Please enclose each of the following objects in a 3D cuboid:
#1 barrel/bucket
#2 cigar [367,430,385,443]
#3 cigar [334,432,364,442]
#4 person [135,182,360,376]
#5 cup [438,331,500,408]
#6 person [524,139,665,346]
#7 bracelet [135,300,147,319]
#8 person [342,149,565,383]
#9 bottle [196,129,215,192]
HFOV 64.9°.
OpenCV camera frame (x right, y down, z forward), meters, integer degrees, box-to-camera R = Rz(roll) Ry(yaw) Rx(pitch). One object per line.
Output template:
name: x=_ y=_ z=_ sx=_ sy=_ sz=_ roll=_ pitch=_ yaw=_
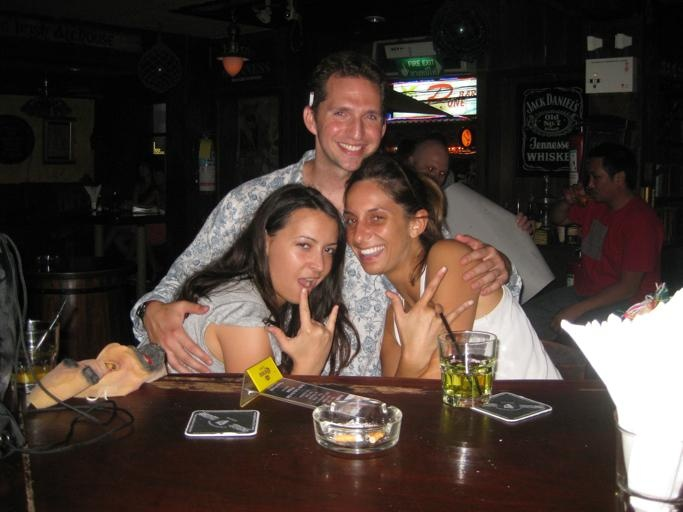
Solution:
barrel/bucket: x=-2.144 y=0.434 z=4.712 sx=0.715 sy=0.719 sz=0.705 roll=-6 pitch=6 yaw=1
cigar: x=0.086 y=0.452 z=1.347 sx=0.037 sy=0.025 sz=0.009 roll=-7 pitch=3 yaw=2
cigar: x=0.014 y=0.456 z=1.345 sx=0.051 sy=0.031 sz=0.012 roll=-4 pitch=-5 yaw=9
person: x=-0.310 y=0.147 z=2.512 sx=0.825 sy=0.945 sz=0.462 roll=-4 pitch=14 yaw=-15
cup: x=0.351 y=0.341 z=1.625 sx=0.200 sy=0.218 sz=0.201 roll=0 pitch=-3 yaw=0
person: x=2.288 y=0.229 z=5.054 sx=1.236 sy=2.412 sz=1.104 roll=-4 pitch=16 yaw=6
bracelet: x=-0.958 y=0.259 z=2.566 sx=0.028 sy=0.071 sz=0.064 roll=26 pitch=11 yaw=-26
person: x=0.427 y=0.085 z=2.359 sx=0.812 sy=1.031 sz=0.717 roll=-8 pitch=16 yaw=-30
bottle: x=-2.361 y=-1.566 z=9.445 sx=0.237 sy=0.948 sz=0.224 roll=4 pitch=27 yaw=-2
